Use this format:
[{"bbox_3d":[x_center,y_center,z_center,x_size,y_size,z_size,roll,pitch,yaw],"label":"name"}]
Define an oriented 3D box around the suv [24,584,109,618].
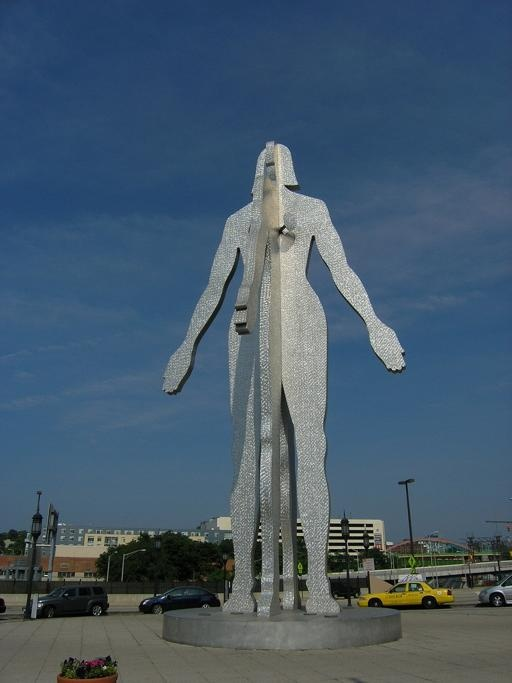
[{"bbox_3d":[-6.552,9.329,25.669,2.542,0.934,1.075,20,-42,-21],"label":"suv"}]
